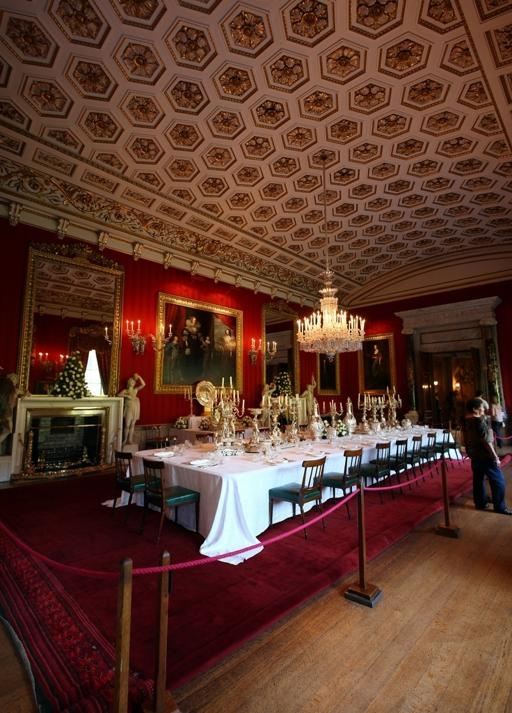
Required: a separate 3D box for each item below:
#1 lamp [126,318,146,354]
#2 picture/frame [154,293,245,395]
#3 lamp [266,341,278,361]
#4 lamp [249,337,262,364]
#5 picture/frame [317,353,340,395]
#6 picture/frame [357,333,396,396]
[{"bbox_3d":[-2.186,-0.360,8.170,0.190,0.640,0.426,-1,-2,29],"label":"lamp"},{"bbox_3d":[-1.259,-0.229,9.287,0.100,1.760,2.087,-10,-15,38],"label":"picture/frame"},{"bbox_3d":[0.431,-0.186,12.522,0.181,0.542,0.537,-9,-11,34],"label":"lamp"},{"bbox_3d":[-0.033,-0.150,10.793,0.169,0.601,0.464,-1,-2,32],"label":"lamp"},{"bbox_3d":[2.048,0.521,12.852,1.052,1.457,0.111,13,-19,-42],"label":"picture/frame"},{"bbox_3d":[3.641,0.278,13.424,0.086,1.755,1.165,0,-4,-45],"label":"picture/frame"}]
